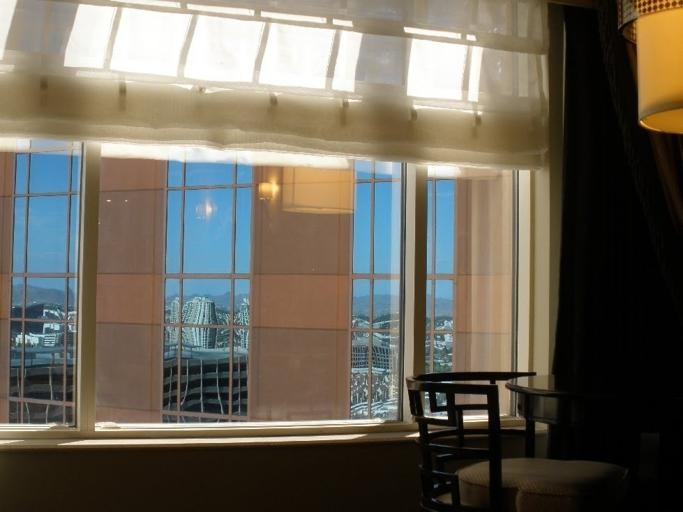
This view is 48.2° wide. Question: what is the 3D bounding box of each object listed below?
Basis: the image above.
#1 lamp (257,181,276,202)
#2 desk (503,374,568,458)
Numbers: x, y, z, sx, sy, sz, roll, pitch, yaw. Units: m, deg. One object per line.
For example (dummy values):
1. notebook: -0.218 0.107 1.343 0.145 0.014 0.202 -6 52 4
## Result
1. lamp: -0.406 -0.355 4.223 0.091 0.109 0.099 -2 -7 17
2. desk: 0.896 0.796 3.582 0.280 0.222 0.280 15 -18 -6
